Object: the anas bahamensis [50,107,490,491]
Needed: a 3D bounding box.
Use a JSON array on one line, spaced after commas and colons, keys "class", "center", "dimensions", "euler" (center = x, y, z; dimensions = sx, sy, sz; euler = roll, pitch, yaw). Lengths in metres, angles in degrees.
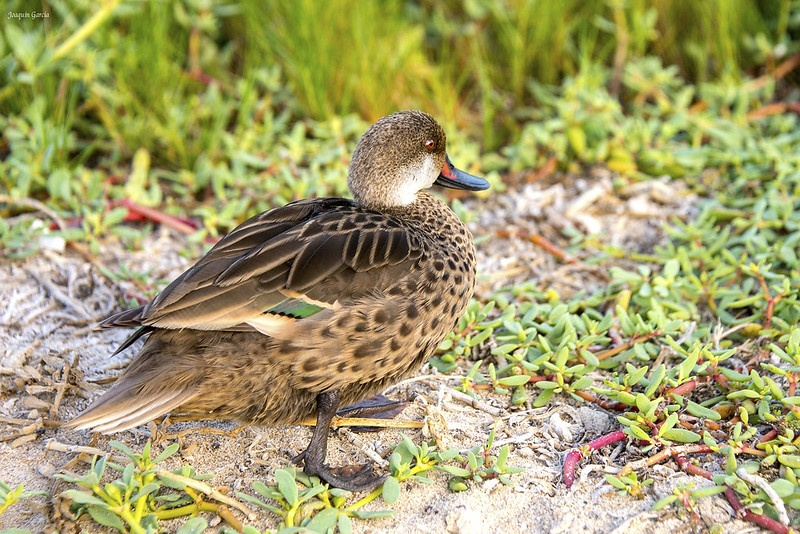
[{"class": "anas bahamensis", "center": [-0.613, 0.161, 3.108], "dimensions": [1.692, 1.145, 0.867], "euler": [-5, 11, -19]}]
